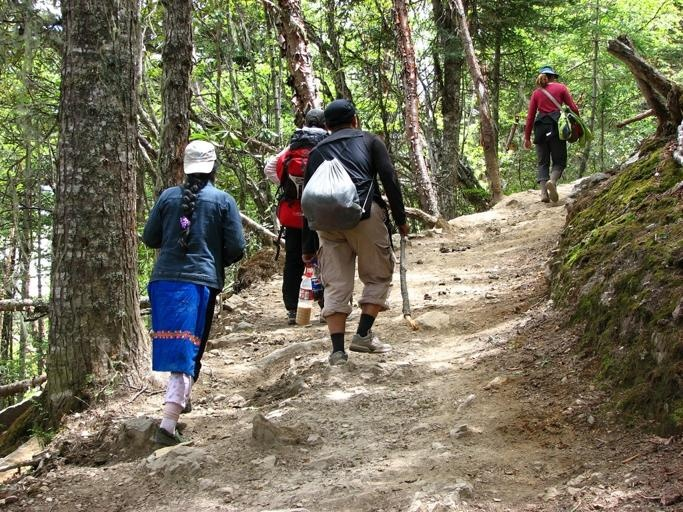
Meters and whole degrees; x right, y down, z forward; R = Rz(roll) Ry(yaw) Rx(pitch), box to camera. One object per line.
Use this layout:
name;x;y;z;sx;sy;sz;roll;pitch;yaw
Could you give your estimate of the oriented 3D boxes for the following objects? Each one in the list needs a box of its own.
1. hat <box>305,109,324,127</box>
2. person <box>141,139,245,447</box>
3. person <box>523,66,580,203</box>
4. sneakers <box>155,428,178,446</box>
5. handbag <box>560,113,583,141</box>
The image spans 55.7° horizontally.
hat;-0.284;-1.496;7.032;0.252;0.174;0.396;6;8;1
person;-1.259;0.281;5.522;0.896;2.569;0.315;-7;0;-18
person;3.606;-2.160;11.202;0.796;2.384;0.970;-7;0;-7
sneakers;-1.421;1.526;5.471;0.263;0.108;0.094;19;0;-43
handbag;3.825;-2.167;10.802;0.210;0.379;0.402;-18;1;36
